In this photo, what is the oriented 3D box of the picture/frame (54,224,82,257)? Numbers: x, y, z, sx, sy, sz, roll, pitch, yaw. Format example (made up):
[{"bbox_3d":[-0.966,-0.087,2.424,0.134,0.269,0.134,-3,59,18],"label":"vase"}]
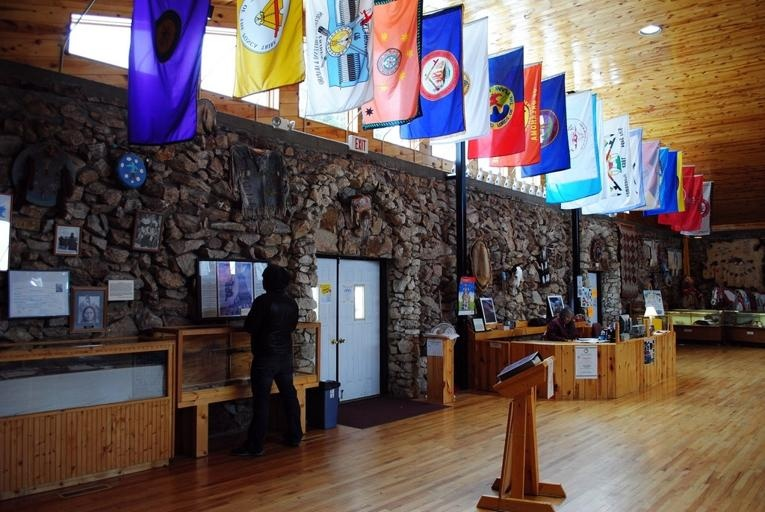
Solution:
[{"bbox_3d":[-4.096,-0.209,7.139,0.376,0.552,0.068,4,-7,-43],"label":"picture/frame"}]

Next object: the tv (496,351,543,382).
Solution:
[{"bbox_3d":[1.614,1.293,6.494,0.483,0.313,0.460,1,2,19],"label":"tv"}]

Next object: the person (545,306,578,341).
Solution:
[{"bbox_3d":[3.805,1.461,11.611,0.691,0.740,0.595,1,1,-20],"label":"person"}]

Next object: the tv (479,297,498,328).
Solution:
[{"bbox_3d":[2.302,1.269,12.153,0.046,0.722,0.608,-16,-12,35],"label":"tv"}]

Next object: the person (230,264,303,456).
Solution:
[{"bbox_3d":[-1.588,1.439,7.788,0.901,2.580,0.386,-1,3,-36],"label":"person"}]

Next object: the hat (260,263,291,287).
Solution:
[{"bbox_3d":[-1.536,0.311,7.932,0.289,0.361,0.349,0,17,-28],"label":"hat"}]

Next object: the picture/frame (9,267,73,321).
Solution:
[{"bbox_3d":[-4.337,0.493,6.935,0.627,0.665,0.061,2,-4,-35],"label":"picture/frame"}]

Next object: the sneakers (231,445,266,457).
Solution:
[{"bbox_3d":[-1.859,2.658,7.625,0.392,0.184,0.173,5,-8,7],"label":"sneakers"}]

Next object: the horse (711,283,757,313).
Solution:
[{"bbox_3d":[13.191,1.609,20.784,1.521,0.854,1.164,2,2,33],"label":"horse"}]

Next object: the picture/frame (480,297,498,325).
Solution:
[{"bbox_3d":[2.320,1.238,12.199,0.041,0.612,0.514,-21,-21,35],"label":"picture/frame"}]

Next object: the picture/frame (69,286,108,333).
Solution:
[{"bbox_3d":[-3.860,0.704,7.180,0.096,0.842,0.559,-6,-6,44],"label":"picture/frame"}]

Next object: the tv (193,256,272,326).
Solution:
[{"bbox_3d":[-2.247,0.546,8.088,0.940,0.797,0.102,3,-7,-42],"label":"tv"}]
